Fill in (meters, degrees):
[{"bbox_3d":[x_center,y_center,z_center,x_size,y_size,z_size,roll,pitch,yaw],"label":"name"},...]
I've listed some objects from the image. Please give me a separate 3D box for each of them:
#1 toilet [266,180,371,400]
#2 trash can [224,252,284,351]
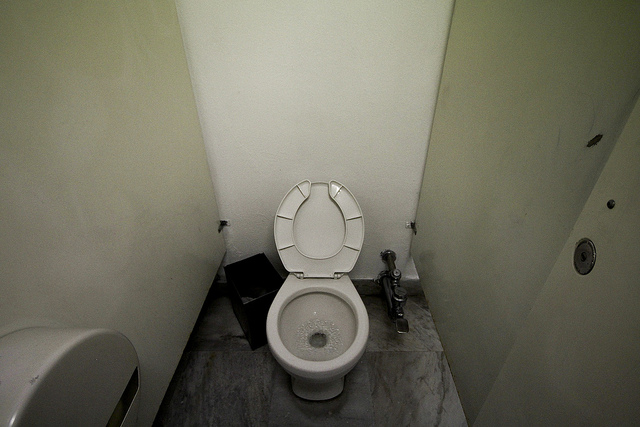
[{"bbox_3d":[-0.008,0.390,1.980,0.478,0.909,0.768,-1,29,-2],"label":"toilet"},{"bbox_3d":[-0.332,0.453,2.167,0.282,0.412,0.278,-20,42,-22],"label":"trash can"}]
